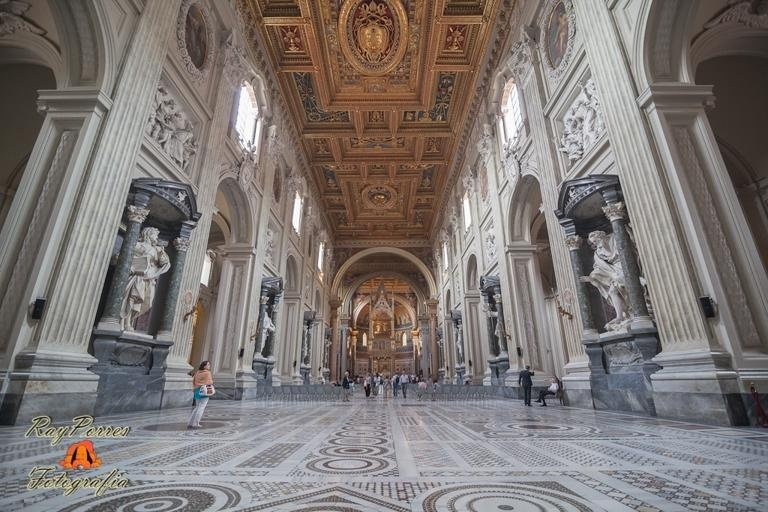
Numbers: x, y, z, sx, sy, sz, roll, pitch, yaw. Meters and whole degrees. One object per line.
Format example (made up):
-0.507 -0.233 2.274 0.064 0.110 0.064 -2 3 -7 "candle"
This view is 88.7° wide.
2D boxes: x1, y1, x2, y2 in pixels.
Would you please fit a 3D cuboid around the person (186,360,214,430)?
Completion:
-3.344 2.640 7.107 0.387 1.049 0.651 2 -5 -26 "person"

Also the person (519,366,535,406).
4.145 3.930 11.423 0.430 1.075 1.774 -2 -5 20 "person"

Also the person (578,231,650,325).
5.033 0.572 8.501 0.783 2.481 1.154 -1 -27 11 "person"

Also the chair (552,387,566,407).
4.852 3.988 10.860 0.268 0.563 1.008 -2 -5 20 "chair"

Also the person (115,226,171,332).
-5.415 0.546 8.811 0.420 2.328 1.145 -1 -4 11 "person"

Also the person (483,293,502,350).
4.219 2.923 15.747 0.930 2.800 0.666 -5 -19 28 "person"

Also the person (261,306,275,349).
-4.389 2.831 14.568 0.369 1.553 1.158 0 -4 0 "person"
